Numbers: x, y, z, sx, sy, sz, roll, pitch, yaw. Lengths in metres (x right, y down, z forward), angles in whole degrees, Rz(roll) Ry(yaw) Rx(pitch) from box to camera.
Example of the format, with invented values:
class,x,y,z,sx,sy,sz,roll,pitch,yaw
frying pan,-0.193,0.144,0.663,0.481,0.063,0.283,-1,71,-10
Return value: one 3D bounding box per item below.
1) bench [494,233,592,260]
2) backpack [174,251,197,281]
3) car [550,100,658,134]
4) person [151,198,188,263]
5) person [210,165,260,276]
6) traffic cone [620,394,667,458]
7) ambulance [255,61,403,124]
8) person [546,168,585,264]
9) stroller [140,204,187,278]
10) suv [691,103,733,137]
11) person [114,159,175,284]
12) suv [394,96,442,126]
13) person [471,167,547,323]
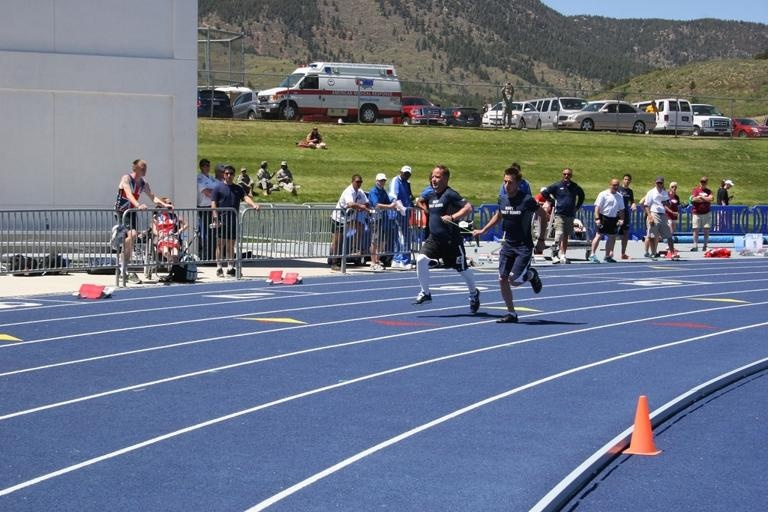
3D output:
class,x,y,z,sx,sy,sz,roll,pitch,yaw
bench,4.961,-0.369,24.006,1.374,0.404,1.542,3,18,11
backpack,-3.997,0.221,18.667,0.449,0.532,0.494,26,16,28
car,11.394,-7.124,46.849,4.839,1.577,1.086,-2,9,-14
person,-4.328,-0.523,18.546,0.449,1.299,0.522,0,-1,-5
person,-3.202,-0.755,19.459,0.887,2.529,0.825,1,0,4
traffic cone,2.810,1.804,10.090,0.417,0.629,0.381,1,9,4
ambulance,-2.624,-8.046,45.301,6.487,3.186,3.091,-1,7,-25
person,4.329,-1.009,22.140,0.856,2.335,0.685,4,1,-6
stroller,-4.326,-0.356,18.406,0.648,1.654,0.699,-3,6,-11
suv,17.309,-7.363,49.156,1.279,1.395,2.490,-2,4,-20
person,-4.879,-0.800,18.099,0.809,2.641,0.842,1,-1,-3
suv,1.622,-7.560,47.568,1.145,1.042,2.376,-2,6,-18
person,2.016,-0.172,14.828,1.125,2.630,0.692,0,8,-3
